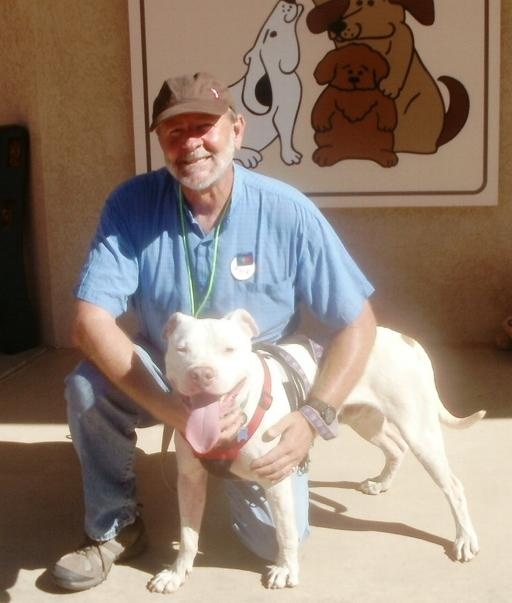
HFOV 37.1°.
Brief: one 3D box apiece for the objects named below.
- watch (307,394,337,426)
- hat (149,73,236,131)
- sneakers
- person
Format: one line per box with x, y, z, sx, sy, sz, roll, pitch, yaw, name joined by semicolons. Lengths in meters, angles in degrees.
0.225;0.362;2.540;0.093;0.046;0.071;42;1;26;watch
-0.228;-0.705;2.695;0.279;0.181;0.185;-1;15;-5;hat
-0.550;0.894;2.761;0.134;0.165;0.373;5;2;30;sneakers
-0.145;0.098;2.838;1.134;1.786;0.924;1;13;1;person
